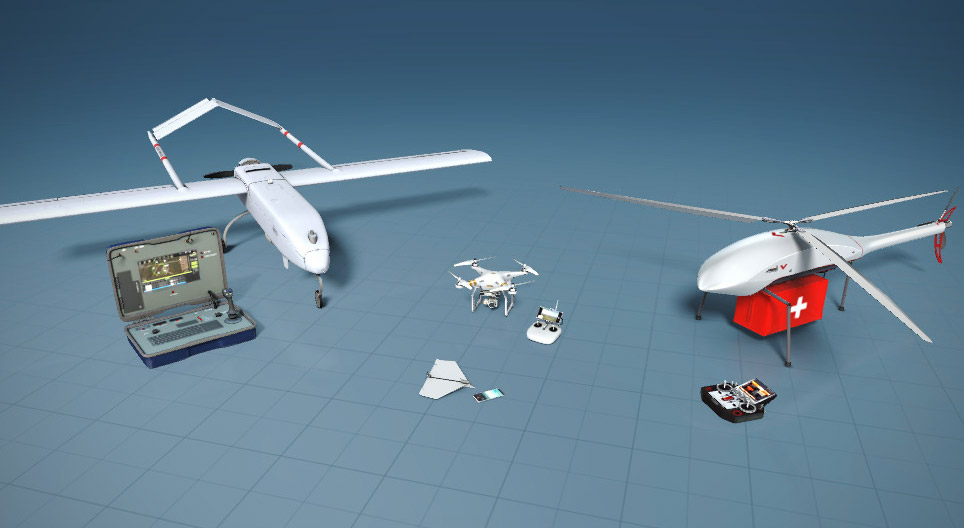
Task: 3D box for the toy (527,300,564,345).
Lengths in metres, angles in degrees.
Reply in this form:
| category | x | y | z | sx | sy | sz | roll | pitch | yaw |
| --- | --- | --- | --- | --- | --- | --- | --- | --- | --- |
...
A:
| category | x | y | z | sx | sy | sz | roll | pitch | yaw |
| --- | --- | --- | --- | --- | --- | --- | --- | --- | --- |
| toy | 2.379 | 2.370 | 21.177 | 1.309 | 0.824 | 1.242 | 7 | 34 | 7 |

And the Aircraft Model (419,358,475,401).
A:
| category | x | y | z | sx | sy | sz | roll | pitch | yaw |
| --- | --- | --- | --- | --- | --- | --- | --- | --- | --- |
| Aircraft Model | -1.226 | 4.130 | 19.687 | 1.438 | 0.419 | 1.640 | 11 | 33 | 15 |
